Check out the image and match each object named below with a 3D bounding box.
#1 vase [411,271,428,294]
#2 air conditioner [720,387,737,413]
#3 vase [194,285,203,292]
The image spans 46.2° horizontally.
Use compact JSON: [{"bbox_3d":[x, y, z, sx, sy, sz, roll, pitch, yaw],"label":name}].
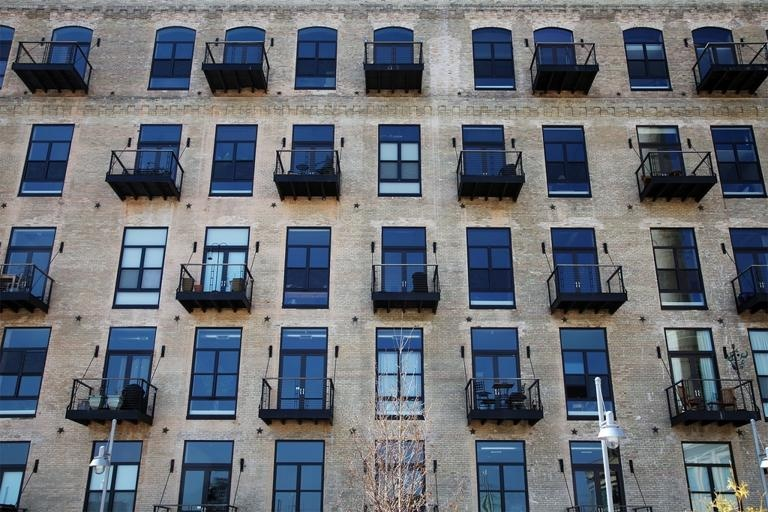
[{"bbox_3d":[1.610,1.148,40.087,0.645,0.285,0.994,0,61,-3],"label":"vase"},{"bbox_3d":[14.721,6.121,38.525,1.106,1.015,1.121,-2,73,14],"label":"air conditioner"},{"bbox_3d":[-8.184,1.443,39.973,0.365,0.311,0.185,10,69,-22],"label":"vase"}]
